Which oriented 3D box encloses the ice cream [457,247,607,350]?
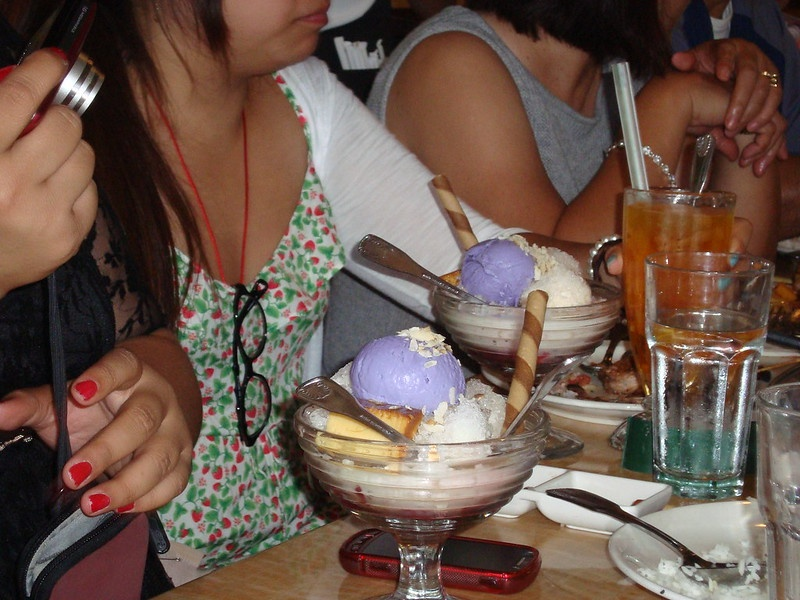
[{"bbox_3d":[0.220,-0.026,1.259,0.255,0.200,0.217,-4,11,-37],"label":"ice cream"}]

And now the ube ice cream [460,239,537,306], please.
[{"bbox_3d":[0.163,-0.046,1.264,0.099,0.112,0.133,6,11,-5],"label":"ube ice cream"}]
